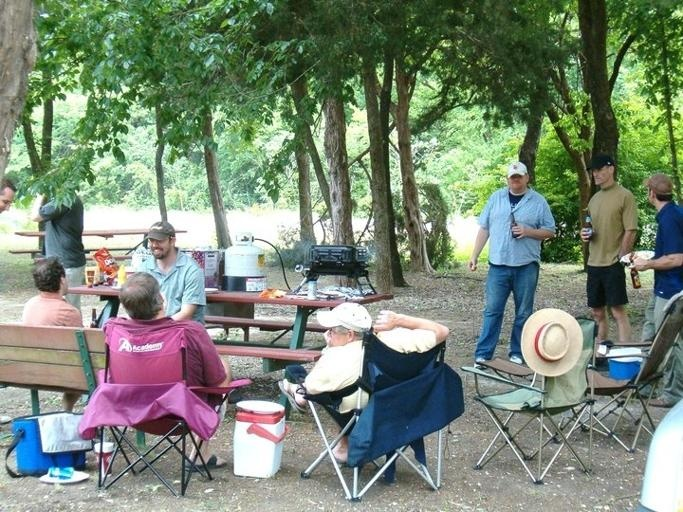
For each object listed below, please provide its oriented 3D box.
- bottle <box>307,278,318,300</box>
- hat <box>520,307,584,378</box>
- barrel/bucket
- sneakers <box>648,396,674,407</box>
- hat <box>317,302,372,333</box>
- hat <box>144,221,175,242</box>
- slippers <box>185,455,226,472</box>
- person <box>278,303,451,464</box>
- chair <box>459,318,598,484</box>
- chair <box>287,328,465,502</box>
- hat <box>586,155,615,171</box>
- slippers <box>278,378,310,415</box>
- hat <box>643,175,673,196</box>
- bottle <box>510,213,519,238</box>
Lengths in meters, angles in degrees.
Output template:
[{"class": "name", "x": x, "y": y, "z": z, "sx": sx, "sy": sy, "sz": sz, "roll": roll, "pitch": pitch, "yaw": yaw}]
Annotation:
[{"class": "bottle", "x": -0.282, "y": 0.305, "z": 7.756, "sx": 0.086, "sy": 0.173, "sz": 0.166, "roll": -1, "pitch": 7, "yaw": -4}, {"class": "hat", "x": 1.653, "y": 0.664, "z": 6.386, "sx": 0.509, "sy": 0.531, "sz": 0.120, "roll": -12, "pitch": 0, "yaw": -14}, {"class": "barrel/bucket", "x": -0.646, "y": 1.437, "z": 6.651, "sx": 0.523, "sy": 0.595, "sz": 0.524, "roll": 1, "pitch": 2, "yaw": 0}, {"class": "sneakers", "x": 3.052, "y": 1.397, "z": 7.806, "sx": 0.142, "sy": 0.095, "sz": 0.253, "roll": 2, "pitch": 3, "yaw": 35}, {"class": "hat", "x": 0.018, "y": 0.465, "z": 6.348, "sx": 0.335, "sy": 0.139, "sz": 0.228, "roll": 9, "pitch": 6, "yaw": 4}, {"class": "hat", "x": -1.645, "y": -0.236, "z": 7.442, "sx": 0.261, "sy": 0.169, "sz": 0.234, "roll": -4, "pitch": 8, "yaw": -23}, {"class": "slippers", "x": -1.078, "y": 1.646, "z": 6.513, "sx": 0.330, "sy": 0.103, "sz": 0.132, "roll": 1, "pitch": -3, "yaw": -16}, {"class": "person", "x": 0.039, "y": 0.878, "z": 6.446, "sx": 1.507, "sy": 1.005, "sz": 0.831, "roll": 13, "pitch": 10, "yaw": 42}, {"class": "chair", "x": 1.623, "y": 1.153, "z": 6.810, "sx": 0.897, "sy": 1.322, "sz": 0.942, "roll": 3, "pitch": 1, "yaw": 40}, {"class": "chair", "x": 0.400, "y": 1.135, "z": 6.718, "sx": 1.230, "sy": 1.459, "sz": 1.197, "roll": 0, "pitch": 3, "yaw": -35}, {"class": "hat", "x": 2.833, "y": -1.028, "z": 8.960, "sx": 0.252, "sy": 0.144, "sz": 0.184, "roll": 3, "pitch": 5, "yaw": -4}, {"class": "slippers", "x": -0.387, "y": 1.112, "z": 6.593, "sx": 0.134, "sy": 0.156, "sz": 0.332, "roll": 38, "pitch": 9, "yaw": -44}, {"class": "hat", "x": 3.091, "y": -0.695, "z": 7.983, "sx": 0.169, "sy": 0.132, "sz": 0.233, "roll": 0, "pitch": 33, "yaw": -6}, {"class": "bottle", "x": 1.911, "y": -0.339, "z": 9.027, "sx": 0.086, "sy": 0.290, "sz": 0.193, "roll": 1, "pitch": 8, "yaw": 9}]
